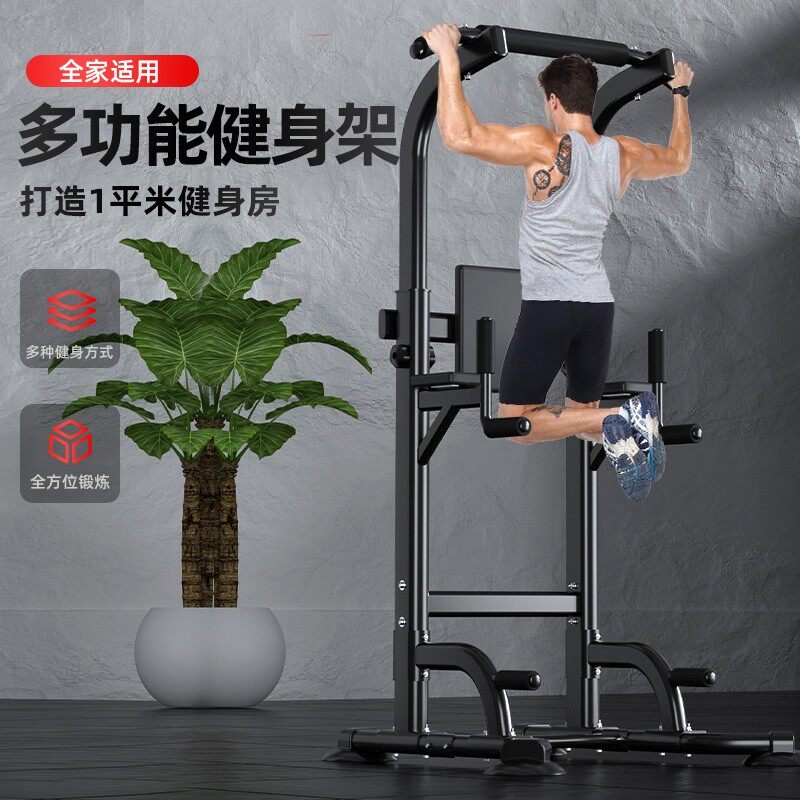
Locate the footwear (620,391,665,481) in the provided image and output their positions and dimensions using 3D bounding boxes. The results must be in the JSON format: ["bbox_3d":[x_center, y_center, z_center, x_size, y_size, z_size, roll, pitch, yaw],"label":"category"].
[{"bbox_3d":[0.639,0.087,3.432,0.103,0.232,0.108,-7,-10,-21],"label":"footwear"}]

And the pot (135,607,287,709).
[{"bbox_3d":[-0.805,1.111,5.586,0.720,0.406,0.467,2,-2,-6],"label":"pot"}]

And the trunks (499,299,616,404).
[{"bbox_3d":[0.437,-0.142,3.587,0.337,0.282,0.174,-2,22,-34],"label":"trunks"}]

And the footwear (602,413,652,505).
[{"bbox_3d":[0.585,0.148,3.417,0.109,0.232,0.110,-25,1,-4],"label":"footwear"}]

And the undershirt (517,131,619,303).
[{"bbox_3d":[0.460,-0.486,3.496,0.265,0.443,0.150,-1,13,-9],"label":"undershirt"}]
